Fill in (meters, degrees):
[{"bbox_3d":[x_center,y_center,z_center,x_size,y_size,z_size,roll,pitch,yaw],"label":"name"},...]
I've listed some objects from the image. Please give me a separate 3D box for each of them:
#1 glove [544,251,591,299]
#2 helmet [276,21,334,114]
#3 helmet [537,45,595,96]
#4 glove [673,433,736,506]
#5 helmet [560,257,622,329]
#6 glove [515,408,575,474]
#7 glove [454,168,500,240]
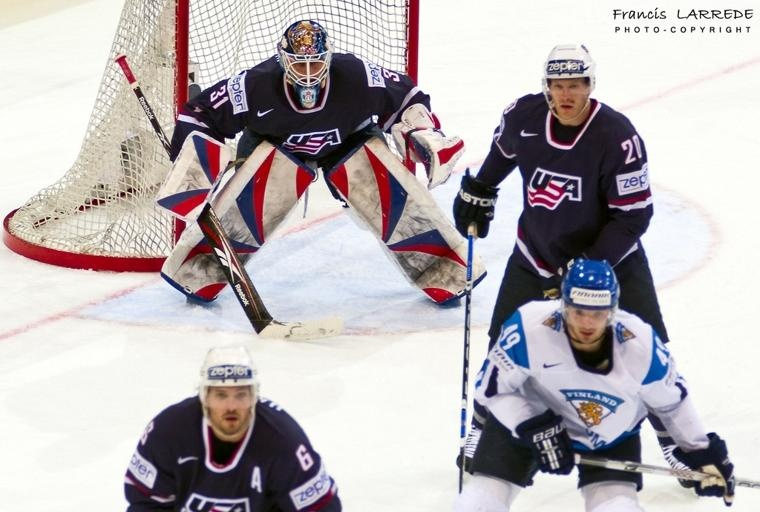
[{"bbox_3d":[0.870,0.101,4.091,0.200,0.201,0.164,5,14,-30],"label":"glove"},{"bbox_3d":[-0.366,-0.951,4.588,0.320,0.400,0.394,-2,50,-1],"label":"helmet"},{"bbox_3d":[0.802,-0.815,3.941,0.175,0.189,0.216,-1,-17,10],"label":"helmet"},{"bbox_3d":[1.288,0.817,3.572,0.126,0.256,0.259,-6,-9,-39],"label":"glove"},{"bbox_3d":[0.799,0.149,3.481,0.193,0.239,0.241,2,33,5],"label":"helmet"},{"bbox_3d":[0.635,0.701,3.494,0.180,0.236,0.088,-28,0,3],"label":"glove"},{"bbox_3d":[0.449,-0.259,4.368,0.232,0.304,0.238,8,9,5],"label":"glove"}]
